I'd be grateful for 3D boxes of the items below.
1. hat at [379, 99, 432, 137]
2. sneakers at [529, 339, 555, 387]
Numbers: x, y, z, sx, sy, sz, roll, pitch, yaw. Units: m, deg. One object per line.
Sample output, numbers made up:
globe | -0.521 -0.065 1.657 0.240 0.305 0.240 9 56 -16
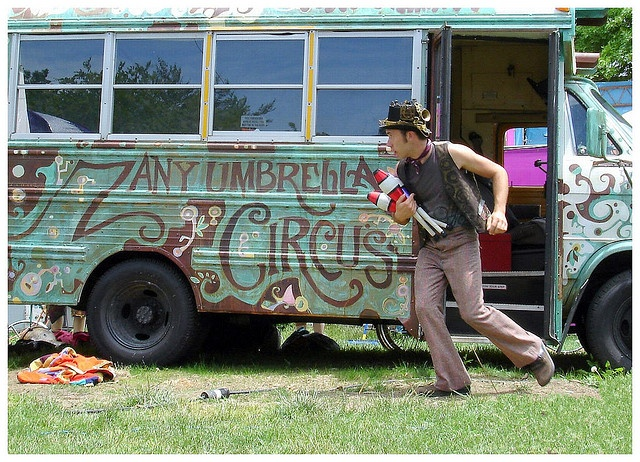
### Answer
hat | 0.830 -1.079 8.330 0.373 0.228 0.422 -3 2 -42
sneakers | 2.260 1.390 8.407 0.194 0.546 0.171 -9 2 -20
